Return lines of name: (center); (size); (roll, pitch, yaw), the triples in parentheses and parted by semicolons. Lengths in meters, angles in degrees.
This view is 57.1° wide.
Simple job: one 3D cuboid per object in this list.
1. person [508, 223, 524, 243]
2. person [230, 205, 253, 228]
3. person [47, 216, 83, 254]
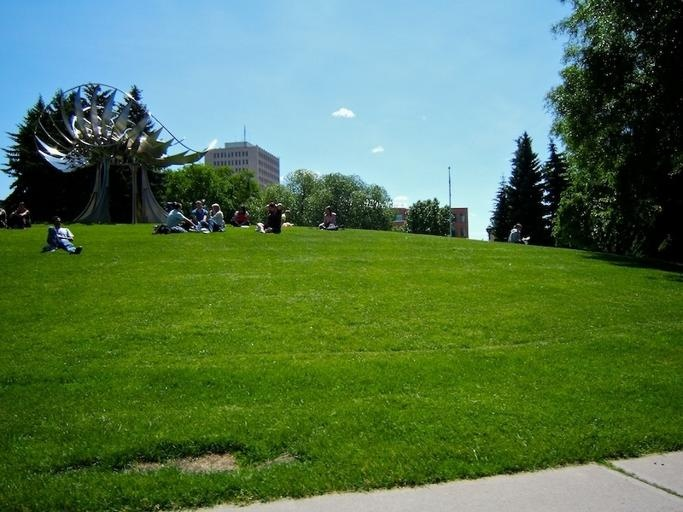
person: (10.200, -1.258, 36.709); (0.602, 1.367, 2.543); (5, 16, 14)
person: (-6.154, -2.503, 38.266); (0.990, 1.335, 1.406); (-2, 15, -14)
person: (-10.940, -0.787, 24.895); (1.033, 1.292, 1.990); (5, 10, -38)
